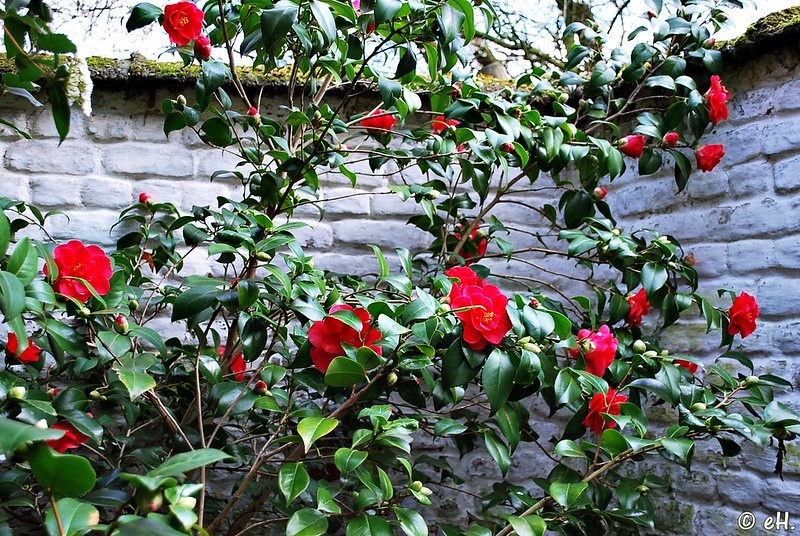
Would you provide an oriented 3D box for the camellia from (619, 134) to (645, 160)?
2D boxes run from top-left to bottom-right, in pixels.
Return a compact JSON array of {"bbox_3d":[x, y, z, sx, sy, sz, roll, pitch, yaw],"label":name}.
[{"bbox_3d":[0.813,-0.430,3.075,0.094,0.070,0.055,5,6,-4],"label":"camellia"}]

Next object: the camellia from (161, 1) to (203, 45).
[{"bbox_3d":[-0.679,-0.773,2.746,0.140,0.130,0.072,15,21,-24],"label":"camellia"}]

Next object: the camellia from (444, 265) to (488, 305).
[{"bbox_3d":[0.201,0.054,2.729,0.119,0.103,0.071,-14,-12,10],"label":"camellia"}]

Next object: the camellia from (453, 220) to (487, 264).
[{"bbox_3d":[0.267,-0.097,3.233,0.150,0.137,0.053,3,21,16],"label":"camellia"}]

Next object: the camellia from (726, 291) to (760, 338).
[{"bbox_3d":[1.135,0.152,2.909,0.076,0.126,0.141,12,38,23],"label":"camellia"}]

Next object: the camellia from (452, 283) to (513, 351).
[{"bbox_3d":[0.238,0.148,2.542,0.183,0.184,0.108,7,2,-1],"label":"camellia"}]

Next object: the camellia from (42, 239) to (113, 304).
[{"bbox_3d":[-0.947,0.007,2.566,0.107,0.179,0.206,-5,-8,43],"label":"camellia"}]

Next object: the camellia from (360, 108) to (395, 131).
[{"bbox_3d":[-0.075,-0.519,3.051,0.094,0.054,0.095,-1,-6,41],"label":"camellia"}]

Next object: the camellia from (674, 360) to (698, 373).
[{"bbox_3d":[0.951,0.329,2.916,0.062,0.028,0.060,2,9,-24],"label":"camellia"}]
